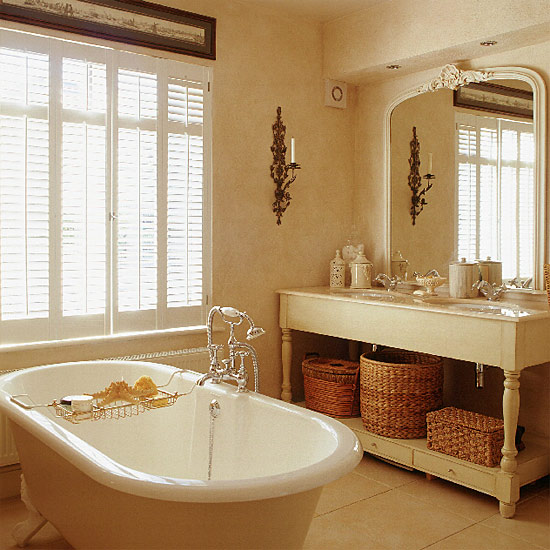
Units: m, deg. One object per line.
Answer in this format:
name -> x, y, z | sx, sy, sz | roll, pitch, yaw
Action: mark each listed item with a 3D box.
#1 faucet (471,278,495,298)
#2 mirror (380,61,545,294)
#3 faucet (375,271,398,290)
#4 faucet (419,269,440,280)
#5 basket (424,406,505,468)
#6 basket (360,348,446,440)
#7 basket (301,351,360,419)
faucet -> 1.115, 0.072, 2.927 | 0.113, 0.042, 0.082 | 26, 42, 34
mirror -> 1.054, -0.582, 3.237 | 0.129, 1.271, 1.123 | -1, 3, -31
faucet -> 0.726, 0.047, 3.540 | 0.090, 0.075, 0.164 | 5, 0, 17
faucet -> 0.929, 0.005, 3.318 | 0.103, 0.036, 0.081 | -2, 0, 4
basket -> 0.958, 0.769, 2.625 | 0.194, 0.152, 0.335 | -2, 2, -41
basket -> 0.688, 0.650, 3.087 | 0.428, 0.354, 0.442 | -1, 1, -41
basket -> 0.341, 0.684, 3.302 | 0.284, 0.227, 0.345 | -1, 2, -36
